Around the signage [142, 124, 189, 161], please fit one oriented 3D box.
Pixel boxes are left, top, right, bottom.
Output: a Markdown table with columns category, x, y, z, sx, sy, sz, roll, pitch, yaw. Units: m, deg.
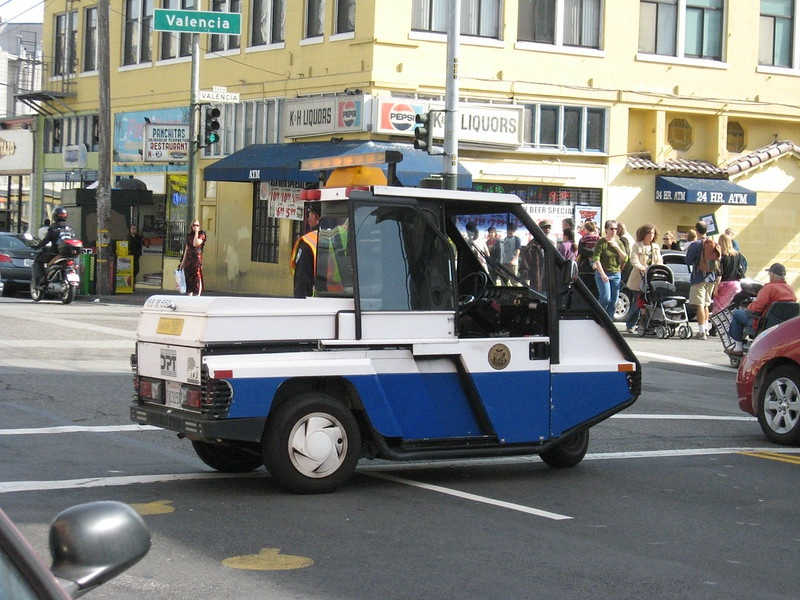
| category | x | y | z | sx | sy | sz | roll | pitch | yaw |
| --- | --- | --- | --- | --- | --- | --- | --- | --- | --- |
| signage | -6.198 | -4.176 | 30.260 | 1.190 | 0.899 | 0.661 | 1 | 0 | 3 |

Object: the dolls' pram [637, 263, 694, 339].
| category | x | y | z | sx | sy | sz | roll | pitch | yaw |
| --- | --- | --- | --- | --- | --- | --- | --- | --- | --- |
| dolls' pram | 5.226 | 0.013 | 22.763 | 0.936 | 1.475 | 0.681 | 3 | 6 | 11 |

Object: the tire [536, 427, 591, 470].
| category | x | y | z | sx | sy | sz | roll | pitch | yaw |
| --- | --- | --- | --- | --- | --- | --- | --- | --- | --- |
| tire | 1.485 | 1.349 | 10.525 | 0.361 | 0.369 | 0.130 | 15 | -2 | -18 |

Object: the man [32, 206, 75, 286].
| category | x | y | z | sx | sy | sz | roll | pitch | yaw |
| --- | --- | --- | --- | --- | --- | --- | --- | --- | --- |
| man | -7.960 | -1.251 | 26.393 | 1.024 | 1.168 | 1.753 | 0 | -2 | -24 |

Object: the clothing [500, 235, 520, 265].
| category | x | y | z | sx | sy | sz | roll | pitch | yaw |
| --- | --- | --- | --- | --- | --- | --- | --- | --- | --- |
| clothing | 1.000 | -0.476 | 10.439 | 0.136 | 0.245 | 0.248 | 9 | -4 | -29 |

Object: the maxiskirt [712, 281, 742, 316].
| category | x | y | z | sx | sy | sz | roll | pitch | yaw |
| --- | --- | --- | --- | --- | --- | --- | --- | --- | --- |
| maxiskirt | 5.912 | -0.101 | 20.916 | 0.249 | 0.729 | 0.539 | 25 | -1 | -23 |

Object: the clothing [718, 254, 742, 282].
| category | x | y | z | sx | sy | sz | roll | pitch | yaw |
| --- | --- | --- | --- | --- | --- | --- | --- | --- | --- |
| clothing | 6.523 | -0.658 | 22.756 | 0.538 | 0.521 | 0.284 | -3 | 6 | -17 |

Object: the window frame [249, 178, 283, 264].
| category | x | y | z | sx | sy | sz | roll | pitch | yaw |
| --- | --- | --- | --- | --- | --- | --- | --- | --- | --- |
| window frame | -3.642 | -2.133 | 31.032 | 0.118 | 3.007 | 2.148 | 3 | -3 | -32 |

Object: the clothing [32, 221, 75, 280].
| category | x | y | z | sx | sy | sz | roll | pitch | yaw |
| --- | --- | --- | --- | --- | --- | --- | --- | --- | --- |
| clothing | -7.915 | -1.151 | 26.101 | 0.780 | 0.962 | 1.437 | -1 | -4 | -34 |

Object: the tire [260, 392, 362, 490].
| category | x | y | z | sx | sy | sz | roll | pitch | yaw |
| --- | --- | --- | --- | --- | --- | --- | --- | --- | --- |
| tire | -0.738 | 1.105 | 9.222 | 0.756 | 0.777 | 0.273 | 4 | 4 | -15 |

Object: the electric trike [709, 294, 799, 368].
| category | x | y | z | sx | sy | sz | roll | pitch | yaw |
| --- | --- | --- | --- | --- | --- | --- | --- | --- | --- |
| electric trike | 5.681 | 0.477 | 18.014 | 0.997 | 1.232 | 1.405 | 1 | 8 | -30 |

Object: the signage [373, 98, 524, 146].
| category | x | y | z | sx | sy | sz | roll | pitch | yaw |
| --- | --- | --- | --- | --- | --- | --- | --- | --- | --- |
| signage | 1.276 | -4.415 | 28.279 | 4.146 | 1.066 | 0.717 | -2 | 6 | -29 |

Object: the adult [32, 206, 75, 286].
| category | x | y | z | sx | sy | sz | roll | pitch | yaw |
| --- | --- | --- | --- | --- | --- | --- | --- | --- | --- |
| adult | -7.897 | -1.280 | 26.251 | 1.024 | 1.169 | 1.753 | 0 | -2 | -24 |

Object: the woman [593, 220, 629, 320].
| category | x | y | z | sx | sy | sz | roll | pitch | yaw |
| --- | --- | --- | --- | --- | --- | --- | --- | --- | --- |
| woman | 4.477 | -0.806 | 23.909 | 0.482 | 1.653 | 0.641 | 13 | 4 | 7 |

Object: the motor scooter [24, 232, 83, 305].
| category | x | y | z | sx | sy | sz | roll | pitch | yaw |
| --- | --- | --- | --- | --- | --- | --- | --- | --- | --- |
| motor scooter | -7.839 | -0.783 | 25.779 | 1.130 | 1.715 | 0.901 | 3 | 6 | 12 |

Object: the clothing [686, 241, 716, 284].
| category | x | y | z | sx | sy | sz | roll | pitch | yaw |
| --- | --- | --- | --- | --- | --- | --- | --- | --- | --- |
| clothing | 6.140 | -0.813 | 22.959 | 0.719 | 1.105 | 0.848 | -2 | -2 | 8 |
